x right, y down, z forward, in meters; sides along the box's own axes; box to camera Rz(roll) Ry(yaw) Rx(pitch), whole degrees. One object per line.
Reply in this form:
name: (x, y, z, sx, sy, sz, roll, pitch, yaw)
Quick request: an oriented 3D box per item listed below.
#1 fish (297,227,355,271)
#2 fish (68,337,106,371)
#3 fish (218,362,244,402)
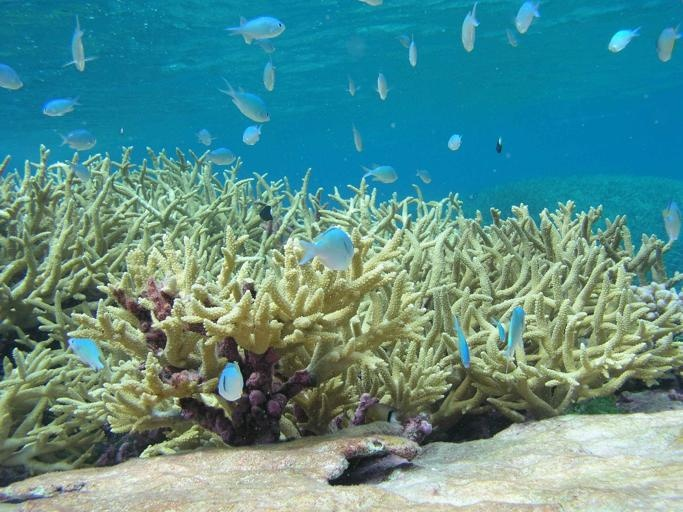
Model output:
fish: (-0.214, -0.113, 10.494, 0.991, 0.655, 0.188, 1, 14, 19)
fish: (-4.131, 1.471, 10.931, 0.733, 0.141, 0.401, 28, 20, -53)
fish: (-1.717, 1.931, 10.405, 0.376, 0.559, 0.234, -10, 17, -14)
